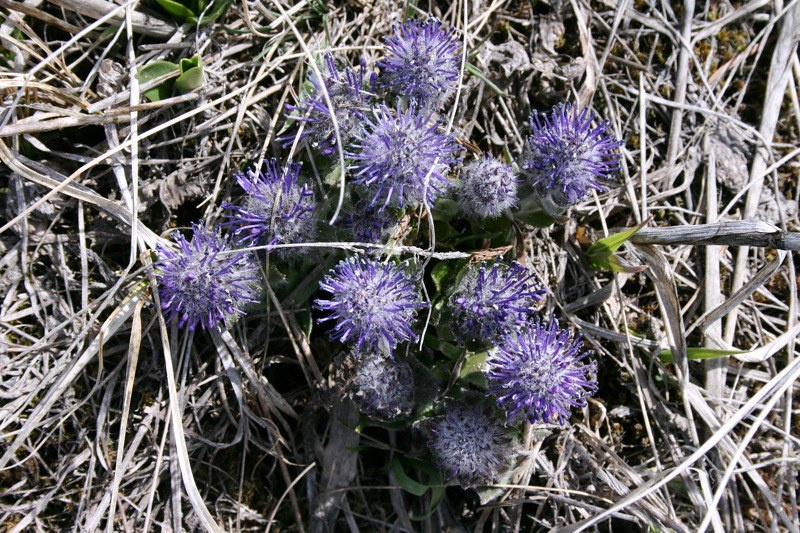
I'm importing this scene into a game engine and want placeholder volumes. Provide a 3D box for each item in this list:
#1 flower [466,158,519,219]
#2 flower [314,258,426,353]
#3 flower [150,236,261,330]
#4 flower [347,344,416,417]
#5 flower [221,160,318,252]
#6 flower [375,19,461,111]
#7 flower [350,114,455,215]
[{"bbox_3d":[0.420,-0.360,3.676,0.235,0.227,0.255,11,32,18],"label":"flower"},{"bbox_3d":[-0.147,0.189,3.744,0.524,0.636,0.431,15,85,2],"label":"flower"},{"bbox_3d":[-0.932,0.058,3.722,0.441,0.326,0.441,-39,106,-17],"label":"flower"},{"bbox_3d":[-0.072,0.568,3.645,0.291,0.120,0.287,10,85,1],"label":"flower"},{"bbox_3d":[-0.563,-0.256,3.687,0.377,0.440,0.428,9,55,5],"label":"flower"},{"bbox_3d":[0.113,-0.914,3.784,0.383,0.430,0.443,-12,105,-14],"label":"flower"},{"bbox_3d":[0.012,-0.484,3.609,0.494,0.348,0.451,0,85,0],"label":"flower"}]
